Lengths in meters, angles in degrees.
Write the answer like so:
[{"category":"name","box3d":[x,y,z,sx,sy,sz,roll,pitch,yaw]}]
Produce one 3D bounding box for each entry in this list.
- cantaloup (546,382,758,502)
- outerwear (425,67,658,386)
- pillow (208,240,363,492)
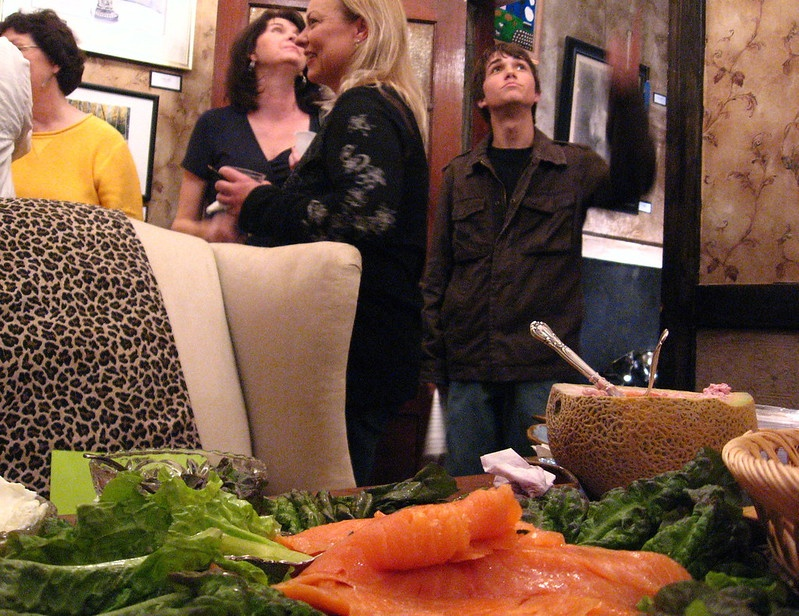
[{"category":"cantaloup","box3d":[0.341,0.170,0.909,0.191,0.123,0.195,-5,-3,-9]},{"category":"outerwear","box3d":[0.375,-0.180,2.219,0.591,0.913,0.344,4,2,30]},{"category":"pillow","box3d":[-0.266,0.128,1.413,0.340,0.542,0.422,-2,5,-4]}]
